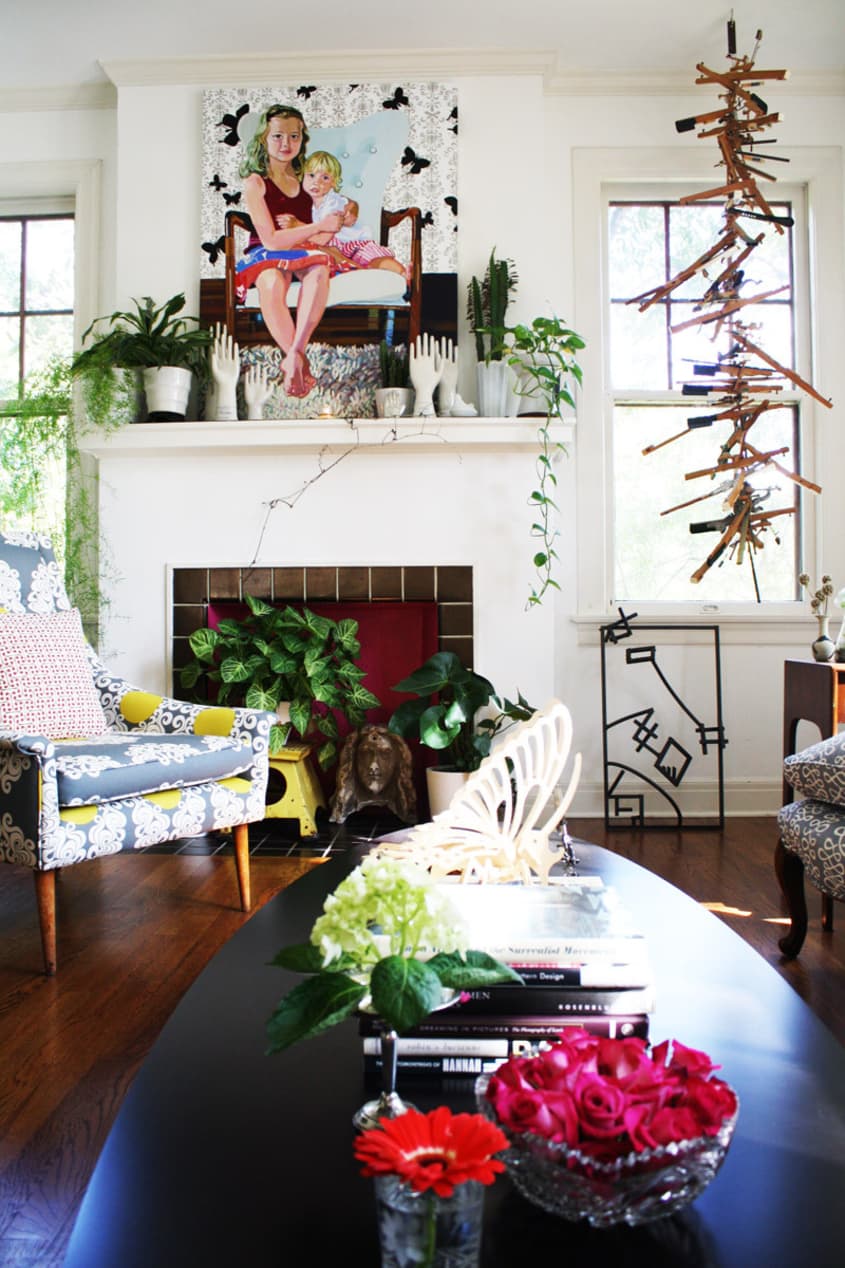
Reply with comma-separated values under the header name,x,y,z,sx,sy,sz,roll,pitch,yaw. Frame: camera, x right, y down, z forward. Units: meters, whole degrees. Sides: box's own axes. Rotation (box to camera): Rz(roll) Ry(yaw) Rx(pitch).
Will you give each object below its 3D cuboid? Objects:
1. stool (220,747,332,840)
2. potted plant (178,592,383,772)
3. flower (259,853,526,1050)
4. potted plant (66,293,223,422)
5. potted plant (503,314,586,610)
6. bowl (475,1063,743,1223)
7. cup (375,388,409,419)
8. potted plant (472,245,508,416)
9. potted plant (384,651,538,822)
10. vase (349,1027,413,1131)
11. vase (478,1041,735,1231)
name,x,y,z,sx,sy,sz,roll,pitch,yaw
stool,-0.467,0.478,3.177,0.221,0.254,0.265,0,6,5
potted plant,-0.577,0.181,3.287,0.721,0.486,0.661,1,-2,26
flower,-0.020,0.196,0.638,0.147,0.093,0.124,20,-30,-39
potted plant,-0.883,-0.892,3.327,0.373,0.353,0.359,4,23,2
potted plant,0.403,-0.558,3.302,0.254,0.937,0.459,0,0,8
bowl,0.121,0.338,0.659,0.140,0.061,0.139,-3,0,0
cup,-0.104,-0.740,3.256,0.111,0.084,0.101,-3,10,-15
potted plant,0.217,-0.984,3.243,0.146,0.574,0.318,0,0,5
potted plant,0.099,0.329,3.067,0.449,0.526,0.516,2,-11,-2
vase,-0.021,0.289,0.656,0.036,0.058,0.037,1,3,-28
vase,0.118,0.317,0.650,0.149,0.097,0.153,-11,-7,21
